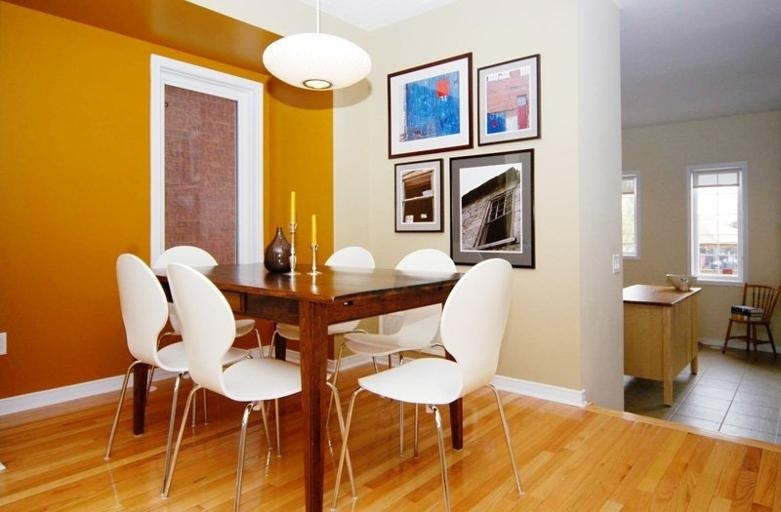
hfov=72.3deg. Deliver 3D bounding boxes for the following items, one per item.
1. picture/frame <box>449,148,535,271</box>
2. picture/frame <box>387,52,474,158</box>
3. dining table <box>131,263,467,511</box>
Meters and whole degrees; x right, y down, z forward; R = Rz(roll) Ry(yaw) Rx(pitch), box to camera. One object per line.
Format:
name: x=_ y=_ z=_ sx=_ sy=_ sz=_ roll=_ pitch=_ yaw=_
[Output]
picture/frame: x=0.920 y=-0.424 z=4.676 sx=0.981 sy=1.331 sz=0.139 roll=-6 pitch=-11 yaw=34
picture/frame: x=0.411 y=-1.428 z=5.033 sx=1.090 sy=1.052 sz=0.039 roll=-1 pitch=-1 yaw=34
dining table: x=-0.503 y=0.371 z=3.590 sx=2.345 sy=1.174 sz=1.402 roll=2 pitch=4 yaw=45
